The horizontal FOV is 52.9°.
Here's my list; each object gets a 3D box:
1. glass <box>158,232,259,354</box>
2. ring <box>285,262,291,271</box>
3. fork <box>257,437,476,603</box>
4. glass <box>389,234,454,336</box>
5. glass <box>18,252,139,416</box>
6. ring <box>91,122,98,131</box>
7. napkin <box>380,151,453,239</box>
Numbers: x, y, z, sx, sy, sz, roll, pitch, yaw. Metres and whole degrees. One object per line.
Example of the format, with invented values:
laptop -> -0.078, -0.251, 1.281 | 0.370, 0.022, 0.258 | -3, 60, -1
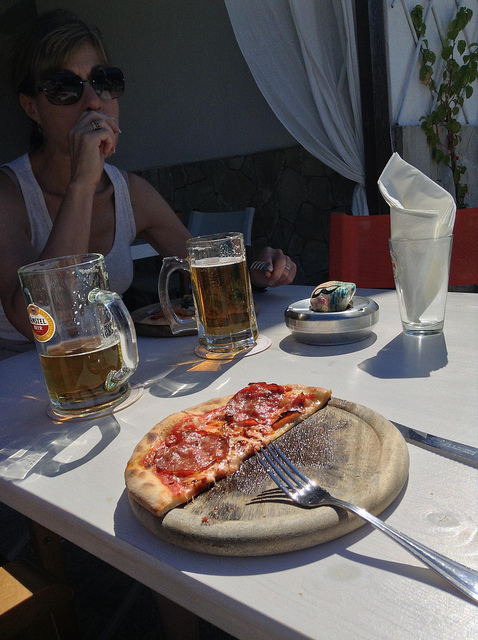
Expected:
glass -> -0.089, -0.064, 0.964 | 0.164, 0.200, 0.375 | -11, 13, -17
ring -> 0.128, -0.135, 1.220 | 0.014, 0.012, 0.017 | -1, -16, 4
fork -> 0.068, 0.126, 0.420 | 0.041, 0.032, 0.282 | -13, 23, -27
glass -> 0.309, -0.054, 0.798 | 0.105, 0.170, 0.082 | -8, 13, -2
glass -> -0.196, 0.001, 0.718 | 0.145, 0.247, 0.236 | -16, 19, -34
ring -> -0.366, -0.488, 1.214 | 0.018, 0.018, 0.018 | -3, 19, 1
napkin -> 0.308, -0.220, 0.832 | 0.084, 0.146, 0.127 | -17, 16, -36
